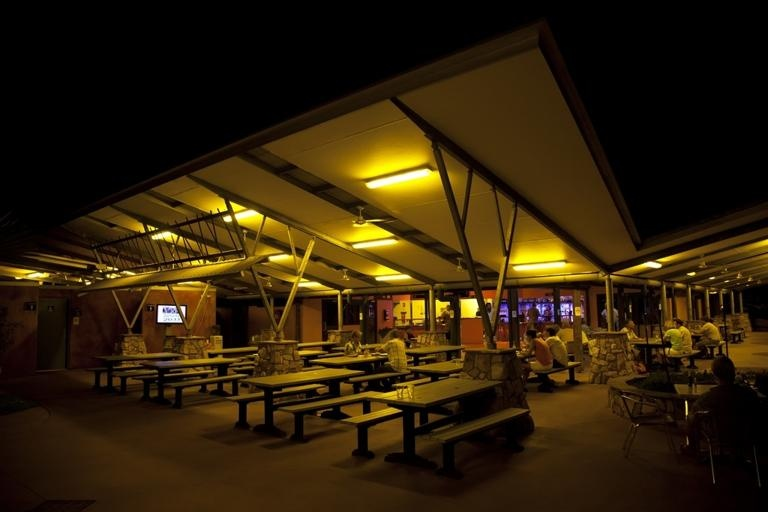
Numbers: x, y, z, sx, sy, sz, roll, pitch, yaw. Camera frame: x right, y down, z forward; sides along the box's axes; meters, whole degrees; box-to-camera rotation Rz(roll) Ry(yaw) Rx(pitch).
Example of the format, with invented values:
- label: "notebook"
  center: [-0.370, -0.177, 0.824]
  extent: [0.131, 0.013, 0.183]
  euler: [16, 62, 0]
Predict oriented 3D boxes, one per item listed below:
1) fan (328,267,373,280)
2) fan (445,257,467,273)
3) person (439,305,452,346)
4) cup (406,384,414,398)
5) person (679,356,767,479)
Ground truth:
- label: "fan"
  center: [-1.399, 0.768, 20.023]
  extent: [1.833, 0.405, 0.863]
  euler: [11, -16, -38]
- label: "fan"
  center: [2.648, 0.276, 16.604]
  extent: [0.522, 0.149, 0.699]
  euler: [16, -10, -13]
- label: "person"
  center: [2.623, 2.822, 19.603]
  extent: [0.493, 1.523, 0.323]
  euler: [3, -14, -10]
- label: "cup"
  center: [0.471, 2.415, 8.398]
  extent: [0.122, 0.224, 0.207]
  euler: [0, -13, 2]
- label: "person"
  center: [5.620, 2.674, 7.816]
  extent: [0.948, 1.949, 0.982]
  euler: [7, -15, -23]
